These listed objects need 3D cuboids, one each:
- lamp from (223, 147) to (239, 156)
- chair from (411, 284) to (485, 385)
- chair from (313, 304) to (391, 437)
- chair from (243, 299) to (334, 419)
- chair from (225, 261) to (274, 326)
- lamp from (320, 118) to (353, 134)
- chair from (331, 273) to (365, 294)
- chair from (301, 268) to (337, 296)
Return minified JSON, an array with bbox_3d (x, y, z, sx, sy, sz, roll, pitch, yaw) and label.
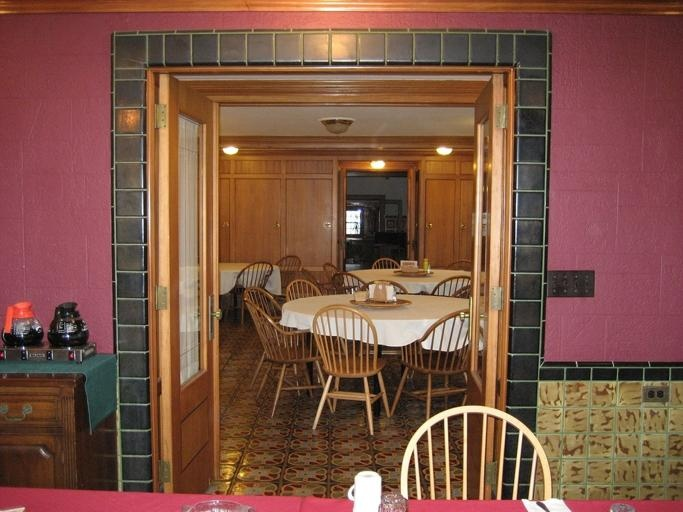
[{"bbox_3d":[-1.581,-1.500,8.983,0.173,0.066,0.167,-1,3,-10],"label":"lamp"},{"bbox_3d":[0.707,0.635,4.708,0.483,0.581,0.687,2,7,6],"label":"chair"},{"bbox_3d":[0.096,0.781,4.948,0.594,0.979,1.047,1,7,4],"label":"chair"},{"bbox_3d":[-0.542,0.773,5.507,0.922,1.260,0.813,-1,4,-16],"label":"chair"},{"bbox_3d":[-1.133,0.454,7.738,0.727,0.871,0.595,-4,13,-23],"label":"chair"},{"bbox_3d":[-0.049,-1.484,7.146,0.259,0.117,0.251,0,8,8],"label":"lamp"},{"bbox_3d":[0.082,0.346,7.700,0.324,0.437,0.353,-1,3,14],"label":"chair"},{"bbox_3d":[-0.348,0.359,9.291,0.425,0.537,0.356,-1,10,0],"label":"chair"}]
